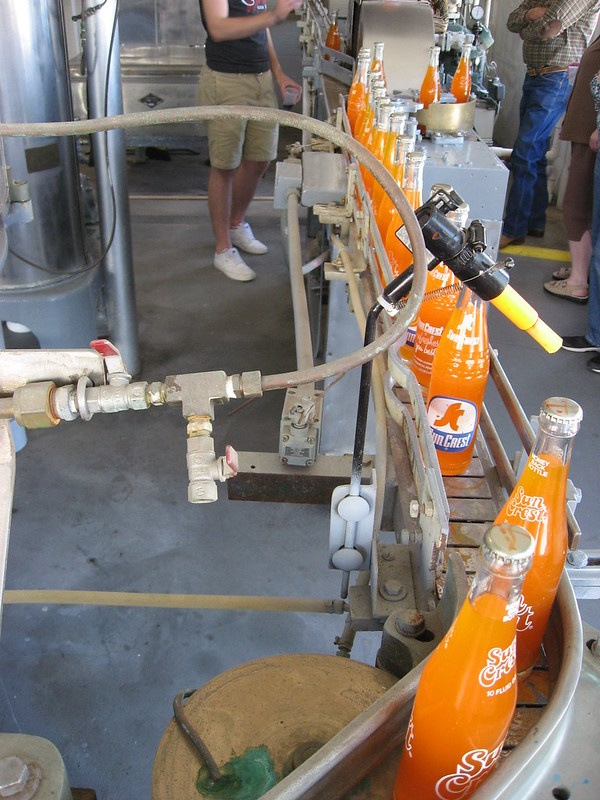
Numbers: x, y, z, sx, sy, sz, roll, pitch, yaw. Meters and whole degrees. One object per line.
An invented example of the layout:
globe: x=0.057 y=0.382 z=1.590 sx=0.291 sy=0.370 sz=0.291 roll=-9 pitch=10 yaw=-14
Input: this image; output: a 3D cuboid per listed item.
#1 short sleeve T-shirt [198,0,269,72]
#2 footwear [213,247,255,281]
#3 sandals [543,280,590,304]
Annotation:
short sleeve T-shirt: x=-0.301 y=-1.722 z=3.160 sx=0.302 sy=0.321 sz=0.370 roll=0 pitch=23 yaw=-3
footwear: x=-0.378 y=-0.756 z=3.782 sx=0.302 sy=0.122 sz=0.124 roll=32 pitch=51 yaw=24
sandals: x=1.415 y=-0.583 z=3.593 sx=0.218 sy=0.081 sz=0.107 roll=30 pitch=45 yaw=33
